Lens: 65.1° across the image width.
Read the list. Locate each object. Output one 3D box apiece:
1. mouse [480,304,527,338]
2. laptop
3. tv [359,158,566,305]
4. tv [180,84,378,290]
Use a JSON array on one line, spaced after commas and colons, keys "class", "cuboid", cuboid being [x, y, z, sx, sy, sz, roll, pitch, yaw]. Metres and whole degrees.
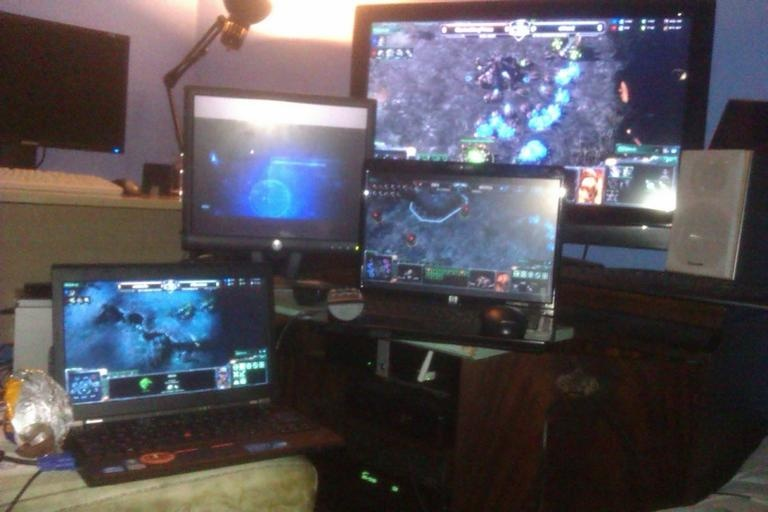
[{"class": "mouse", "cuboid": [0.313, 0.164, 1.577, 0.128, 0.070, 0.112, 6, 19, 10]}, {"class": "laptop", "cuboid": [-0.570, 0.192, 1.619, 0.643, 0.534, 0.449, -1, 4, -26]}, {"class": "tv", "cuboid": [0.232, -0.066, 1.684, 0.399, 0.267, 0.018, 5, 4, 13]}, {"class": "tv", "cuboid": [-0.313, -0.206, 1.783, 0.611, 0.604, 0.251, 5, 0, -6]}]
